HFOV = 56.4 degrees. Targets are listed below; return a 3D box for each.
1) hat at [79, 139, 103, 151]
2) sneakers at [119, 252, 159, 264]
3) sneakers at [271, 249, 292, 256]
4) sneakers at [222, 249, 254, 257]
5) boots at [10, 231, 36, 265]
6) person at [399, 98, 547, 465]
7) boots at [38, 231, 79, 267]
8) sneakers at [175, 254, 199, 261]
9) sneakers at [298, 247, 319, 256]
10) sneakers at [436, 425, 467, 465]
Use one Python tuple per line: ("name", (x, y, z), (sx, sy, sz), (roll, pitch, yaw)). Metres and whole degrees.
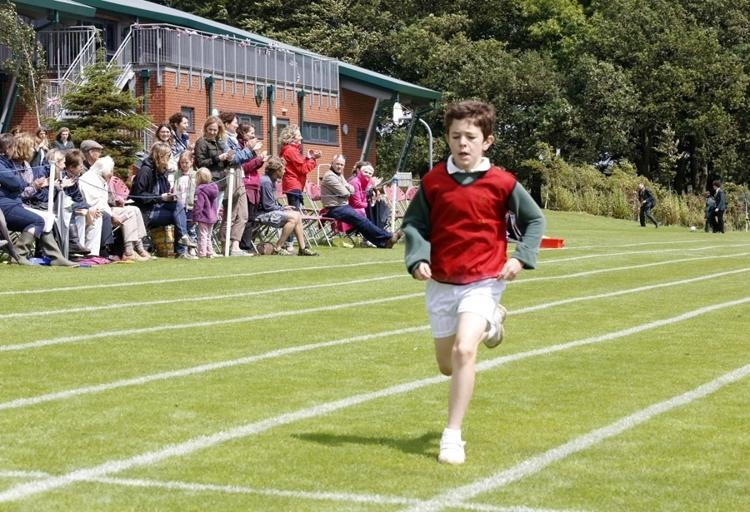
("hat", (-6.088, -2.353, 15.111), (0.341, 0.180, 0.408), (4, 7, 38))
("sneakers", (-5.017, 0.059, 14.929), (0.710, 0.250, 0.218), (-1, 1, -29))
("sneakers", (-2.237, -0.067, 16.819), (0.547, 0.228, 0.189), (-1, 1, 15))
("sneakers", (-3.157, -0.034, 16.296), (0.689, 0.244, 0.233), (-1, -3, 0))
("boots", (-6.892, -0.150, 13.809), (0.378, 0.637, 0.606), (-2, 6, -26))
("person", (0.629, 0.141, 4.577), (0.904, 2.274, 0.613), (1, 5, 1))
("boots", (-6.258, -0.128, 13.874), (0.643, 0.685, 0.408), (-1, 6, -22))
("sneakers", (-4.139, 0.042, 15.583), (0.532, 0.224, 0.181), (-4, -3, 18))
("sneakers", (-1.600, -0.077, 16.828), (0.562, 0.234, 0.186), (2, 1, 0))
("sneakers", (0.507, 1.193, 4.538), (0.193, 0.175, 0.447), (6, 11, 3))
